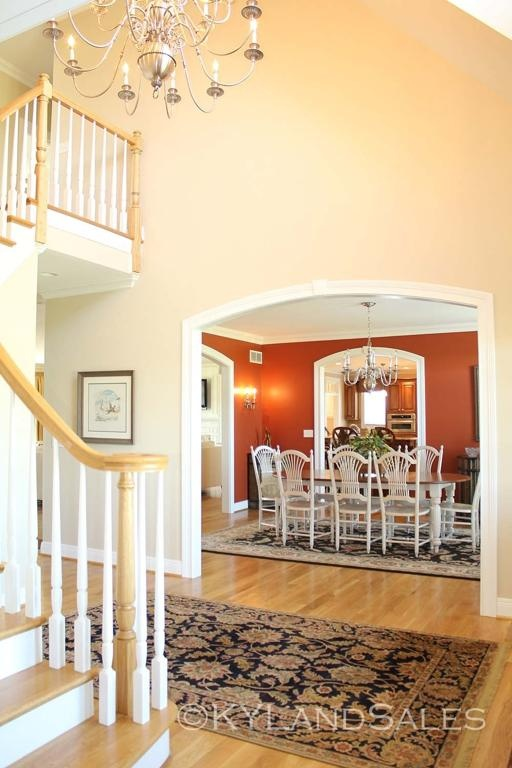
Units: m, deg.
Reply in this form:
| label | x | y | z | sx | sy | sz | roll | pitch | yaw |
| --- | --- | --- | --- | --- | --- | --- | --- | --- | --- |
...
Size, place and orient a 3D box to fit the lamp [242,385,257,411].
| label | x | y | z | sx | sy | sz | roll | pitch | yaw |
| --- | --- | --- | --- | --- | --- | --- | --- | --- | --- |
| lamp | -0.123 | 0.224 | 10.110 | 0.140 | 0.436 | 0.418 | -2 | -3 | 21 |

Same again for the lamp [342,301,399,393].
| label | x | y | z | sx | sy | sz | roll | pitch | yaw |
| --- | --- | --- | --- | --- | --- | --- | --- | --- | --- |
| lamp | 1.712 | -0.589 | 8.859 | 0.806 | 1.394 | 0.855 | -1 | 3 | 9 |

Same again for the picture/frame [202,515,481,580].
| label | x | y | z | sx | sy | sz | roll | pitch | yaw |
| --- | --- | --- | --- | --- | --- | --- | --- | --- | --- |
| picture/frame | 1.096 | 1.848 | 6.198 | 2.053 | 0.028 | 1.999 | -3 | -22 | 31 |

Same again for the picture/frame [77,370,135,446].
| label | x | y | z | sx | sy | sz | roll | pitch | yaw |
| --- | --- | --- | --- | --- | --- | --- | --- | --- | --- |
| picture/frame | -1.442 | 0.233 | 5.783 | 0.701 | 0.887 | 0.067 | -1 | 0 | 30 |

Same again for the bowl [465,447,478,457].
| label | x | y | z | sx | sy | sz | roll | pitch | yaw |
| --- | --- | --- | --- | --- | --- | --- | --- | --- | --- |
| bowl | 3.211 | 1.013 | 8.778 | 0.140 | 0.108 | 0.147 | -1 | -3 | 0 |

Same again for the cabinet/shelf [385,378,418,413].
| label | x | y | z | sx | sy | sz | roll | pitch | yaw |
| --- | --- | --- | --- | --- | --- | --- | --- | --- | --- |
| cabinet/shelf | 3.316 | 0.271 | 13.443 | 0.691 | 0.712 | 0.385 | -4 | -8 | 43 |
